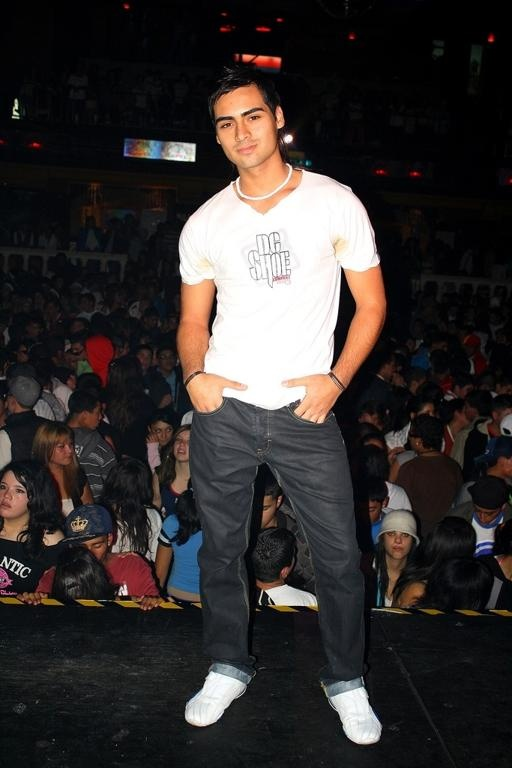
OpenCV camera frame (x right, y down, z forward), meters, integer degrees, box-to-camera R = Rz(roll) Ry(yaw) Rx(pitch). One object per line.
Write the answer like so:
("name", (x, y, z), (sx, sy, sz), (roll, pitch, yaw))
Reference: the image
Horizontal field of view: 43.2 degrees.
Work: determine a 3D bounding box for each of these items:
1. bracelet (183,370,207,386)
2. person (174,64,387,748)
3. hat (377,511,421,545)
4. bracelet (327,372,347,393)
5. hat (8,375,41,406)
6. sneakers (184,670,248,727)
("bracelet", (-0.182, -0.009, 1.921), (0.013, 0.048, 0.051), (45, 33, 13))
("person", (0.060, 0.010, 1.878), (0.662, 1.834, 0.598), (3, 6, 1))
("hat", (0.804, 0.796, 3.620), (0.164, 0.118, 0.214), (1, -26, 16))
("bracelet", (0.240, -0.001, 1.859), (0.046, 0.052, 0.054), (-30, -4, -11))
("hat", (-1.628, 0.053, 4.556), (0.205, 0.226, 0.175), (7, 7, 43))
("sneakers", (-0.104, 0.885, 1.865), (0.097, 0.102, 0.274), (-1, -1, 24))
